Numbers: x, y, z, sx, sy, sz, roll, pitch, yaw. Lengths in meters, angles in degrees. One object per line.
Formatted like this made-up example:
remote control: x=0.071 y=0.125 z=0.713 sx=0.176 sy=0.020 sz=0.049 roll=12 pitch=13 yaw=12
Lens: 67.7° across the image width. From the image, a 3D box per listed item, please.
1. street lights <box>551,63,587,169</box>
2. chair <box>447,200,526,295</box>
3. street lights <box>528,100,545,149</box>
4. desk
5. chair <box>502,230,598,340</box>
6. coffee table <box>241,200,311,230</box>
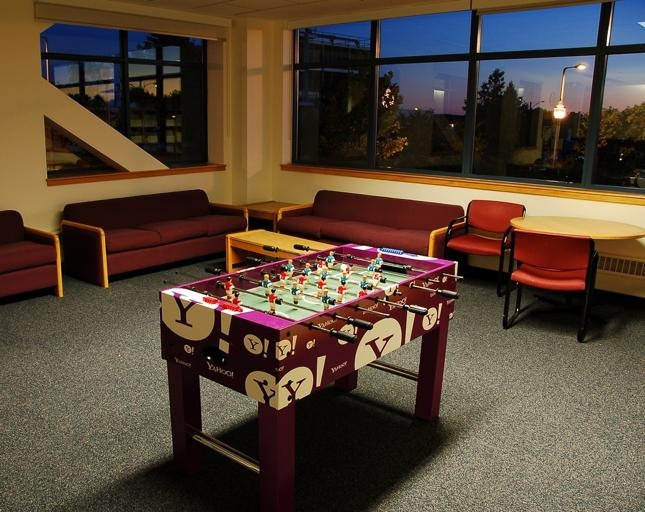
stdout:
street lights: x=2.947 y=-1.725 z=5.854 sx=0.284 sy=1.179 sz=0.142 roll=10 pitch=20 yaw=25
chair: x=2.024 y=-0.122 z=6.032 sx=0.871 sy=1.015 sz=0.779 roll=7 pitch=17 yaw=29
street lights: x=2.688 y=-1.656 z=6.047 sx=0.189 sy=0.561 sz=0.102 roll=10 pitch=20 yaw=25
desk: x=-0.661 y=0.091 z=6.036 sx=0.529 sy=0.623 sz=1.215 roll=-10 pitch=18 yaw=-41
chair: x=2.343 y=0.185 z=4.903 sx=0.802 sy=1.019 sz=1.105 roll=12 pitch=21 yaw=29
coffee table: x=-0.817 y=-0.708 z=7.673 sx=0.583 sy=0.673 sz=0.724 roll=-14 pitch=21 yaw=-39
